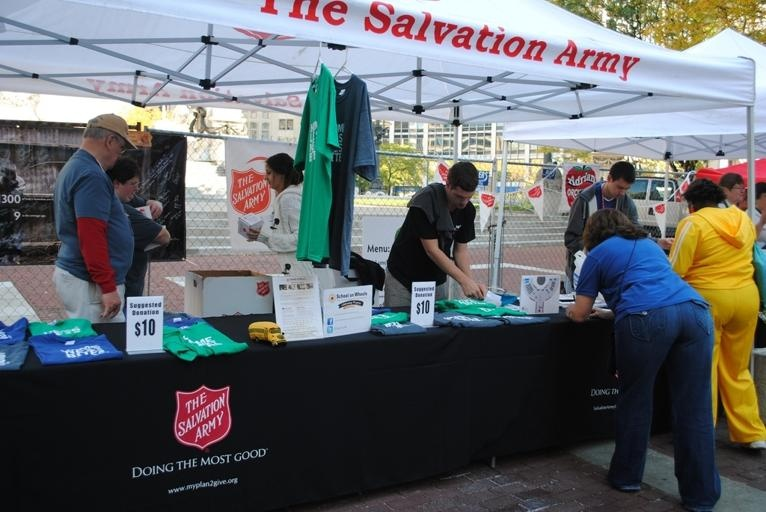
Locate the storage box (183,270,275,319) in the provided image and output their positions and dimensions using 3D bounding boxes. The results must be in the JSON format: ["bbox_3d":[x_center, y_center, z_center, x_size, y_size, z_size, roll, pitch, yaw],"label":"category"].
[{"bbox_3d":[-1.297,0.320,5.043,0.506,0.304,0.492,-2,4,-27],"label":"storage box"}]

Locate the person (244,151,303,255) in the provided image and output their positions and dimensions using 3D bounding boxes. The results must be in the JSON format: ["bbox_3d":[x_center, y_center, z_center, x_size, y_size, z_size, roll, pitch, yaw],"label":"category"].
[{"bbox_3d":[-1.005,-0.472,5.488,0.500,0.929,0.711,1,10,-8],"label":"person"}]

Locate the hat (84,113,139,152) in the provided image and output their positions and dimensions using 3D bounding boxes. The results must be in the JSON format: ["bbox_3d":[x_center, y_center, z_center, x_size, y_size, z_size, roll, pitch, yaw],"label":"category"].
[{"bbox_3d":[-2.129,-0.963,4.729,0.343,0.201,0.238,10,5,-45],"label":"hat"}]

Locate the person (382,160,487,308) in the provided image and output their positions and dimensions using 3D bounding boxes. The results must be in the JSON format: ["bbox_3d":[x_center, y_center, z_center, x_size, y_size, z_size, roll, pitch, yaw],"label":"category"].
[{"bbox_3d":[0.481,-0.166,5.496,0.864,1.407,0.715,1,10,-4],"label":"person"}]
